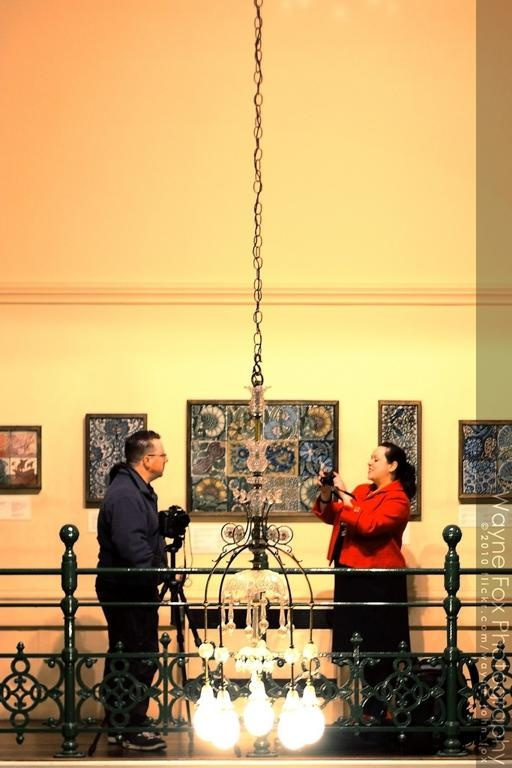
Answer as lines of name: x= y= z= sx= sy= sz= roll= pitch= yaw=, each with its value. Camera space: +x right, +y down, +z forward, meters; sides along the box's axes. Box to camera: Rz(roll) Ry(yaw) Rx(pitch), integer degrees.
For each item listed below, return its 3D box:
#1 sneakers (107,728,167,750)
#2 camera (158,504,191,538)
sneakers: x=-0.633 y=1.767 z=7.438 sx=0.336 sy=0.160 sz=0.132 roll=-3 pitch=-8 yaw=19
camera: x=-0.457 y=0.725 z=7.800 sx=0.127 sy=0.147 sz=0.194 roll=1 pitch=-4 yaw=4
